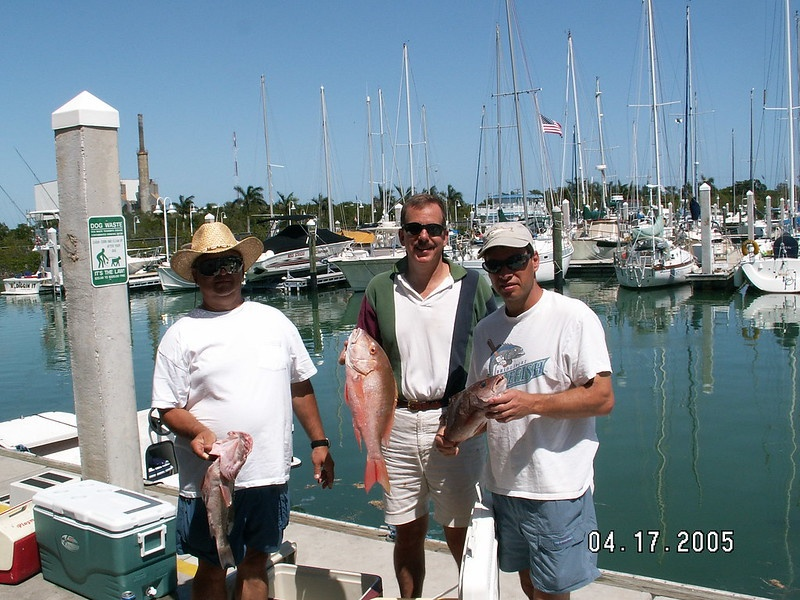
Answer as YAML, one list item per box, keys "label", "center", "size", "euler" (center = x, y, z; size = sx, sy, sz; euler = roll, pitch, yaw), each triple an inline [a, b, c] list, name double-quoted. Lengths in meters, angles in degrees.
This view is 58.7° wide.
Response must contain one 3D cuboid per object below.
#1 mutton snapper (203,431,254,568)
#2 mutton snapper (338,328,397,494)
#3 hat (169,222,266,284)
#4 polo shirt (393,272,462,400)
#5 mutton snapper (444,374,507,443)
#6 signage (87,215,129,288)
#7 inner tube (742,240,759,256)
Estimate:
- label: "mutton snapper"
  center: [-1.001, 1.053, 3.970]
  size: [0.298, 0.774, 0.222]
  euler: [9, 9, -24]
- label: "mutton snapper"
  center: [-0.137, 0.693, 4.293]
  size: [0.359, 1.044, 0.299]
  euler: [-5, 6, -30]
- label: "hat"
  center: [-1.122, -0.216, 4.439]
  size: [0.368, 0.187, 0.448]
  euler: [-13, -14, -10]
- label: "polo shirt"
  center: [0.151, 0.193, 4.609]
  size: [0.454, 0.946, 0.351]
  euler: [-2, 30, -10]
- label: "mutton snapper"
  center: [0.391, 0.607, 3.893]
  size: [0.196, 0.440, 0.474]
  euler: [-5, 7, -30]
- label: "signage"
  center: [-2.186, -0.371, 5.387]
  size: [0.128, 0.531, 0.368]
  euler: [1, 7, 29]
- label: "inner tube"
  center: [13.229, -2.008, 26.764]
  size: [0.199, 0.789, 0.716]
  euler: [-2, 3, -38]
